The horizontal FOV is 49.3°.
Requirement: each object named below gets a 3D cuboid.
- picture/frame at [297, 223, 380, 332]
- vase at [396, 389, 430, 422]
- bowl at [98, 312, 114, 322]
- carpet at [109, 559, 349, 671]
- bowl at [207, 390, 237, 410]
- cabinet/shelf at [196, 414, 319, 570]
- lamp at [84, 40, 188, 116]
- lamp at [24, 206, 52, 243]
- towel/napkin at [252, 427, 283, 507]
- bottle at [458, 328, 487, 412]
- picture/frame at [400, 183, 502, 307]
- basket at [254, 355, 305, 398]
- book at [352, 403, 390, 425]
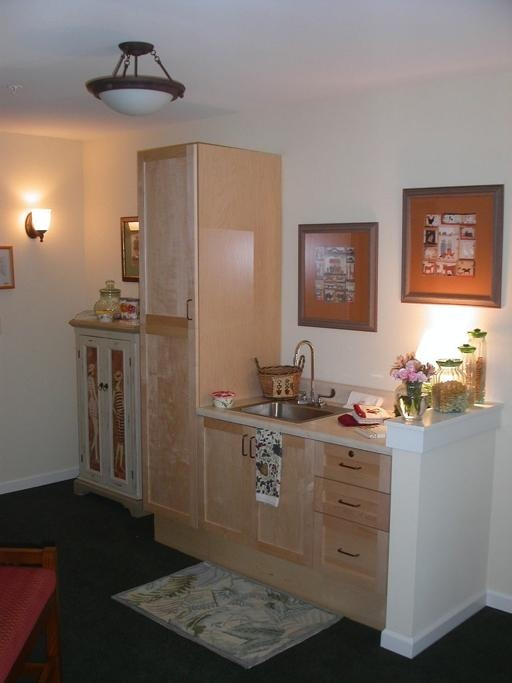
[{"bbox_3d":[0.488,-0.381,3.181,0.033,0.703,0.620,-7,10,-43],"label":"picture/frame"},{"bbox_3d":[0.645,0.257,2.325,0.147,0.114,0.140,1,1,13],"label":"vase"},{"bbox_3d":[-1.070,-0.180,3.935,0.065,0.055,0.080,-2,16,-13],"label":"bowl"},{"bbox_3d":[-0.151,1.246,2.616,0.934,0.031,0.612,2,3,43],"label":"carpet"},{"bbox_3d":[-0.187,0.323,3.168,0.131,0.087,0.225,0,2,-2],"label":"bowl"},{"bbox_3d":[0.020,0.751,2.830,0.772,0.660,0.299,11,15,40],"label":"cabinet/shelf"},{"bbox_3d":[-0.481,-1.068,2.273,0.342,0.216,0.338,-1,-6,8],"label":"lamp"},{"bbox_3d":[-1.661,-0.911,4.391,0.194,0.241,0.249,1,2,30],"label":"lamp"},{"bbox_3d":[0.061,0.621,2.763,0.031,0.374,0.186,-2,2,-41],"label":"towel/napkin"},{"bbox_3d":[1.004,0.116,2.550,0.175,0.346,0.082,-1,2,-25],"label":"bottle"},{"bbox_3d":[0.949,-0.472,2.659,0.033,0.675,0.610,-5,8,-42],"label":"picture/frame"},{"bbox_3d":[0.137,0.216,3.378,0.244,0.194,0.258,-3,10,-10],"label":"basket"},{"bbox_3d":[0.556,0.354,2.726,0.112,0.032,0.110,-3,8,-28],"label":"book"}]
